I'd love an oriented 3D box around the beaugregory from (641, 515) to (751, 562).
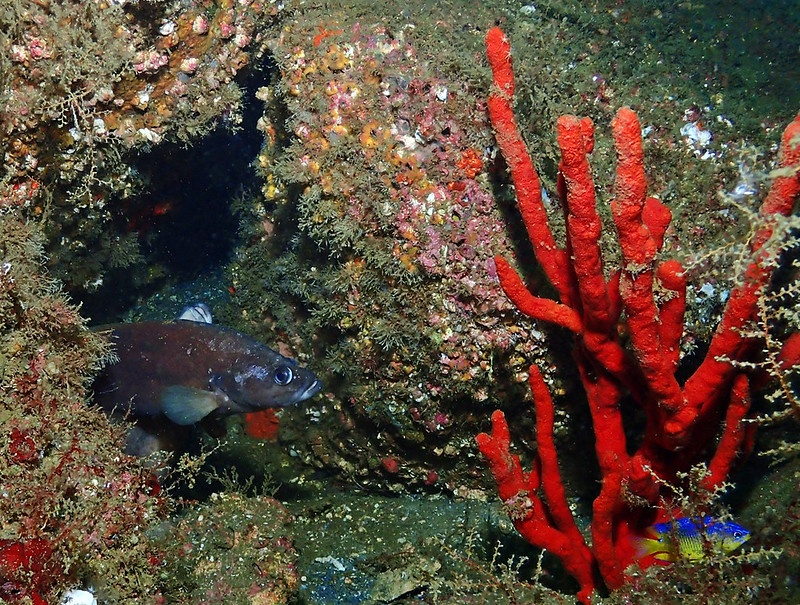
[{"bbox_3d":[2.225,1.806,7.623,0.897,0.399,0.184,-9,16,9],"label":"beaugregory"}]
